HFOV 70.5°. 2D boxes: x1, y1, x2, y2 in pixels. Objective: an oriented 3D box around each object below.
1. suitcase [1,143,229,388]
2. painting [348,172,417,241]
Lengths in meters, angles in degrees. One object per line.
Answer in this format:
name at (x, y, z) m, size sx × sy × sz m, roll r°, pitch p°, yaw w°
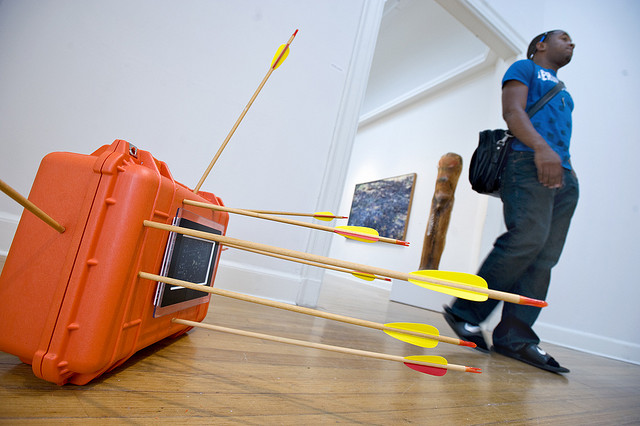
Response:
suitcase at (-0.650, 0.194, 1.418) m, size 0.415 × 0.650 × 0.720 m, roll 10°, pitch -8°, yaw 17°
painting at (0.697, -0.079, 5.624) m, size 0.047 × 0.736 × 1.262 m, roll 17°, pitch 12°, yaw 43°
